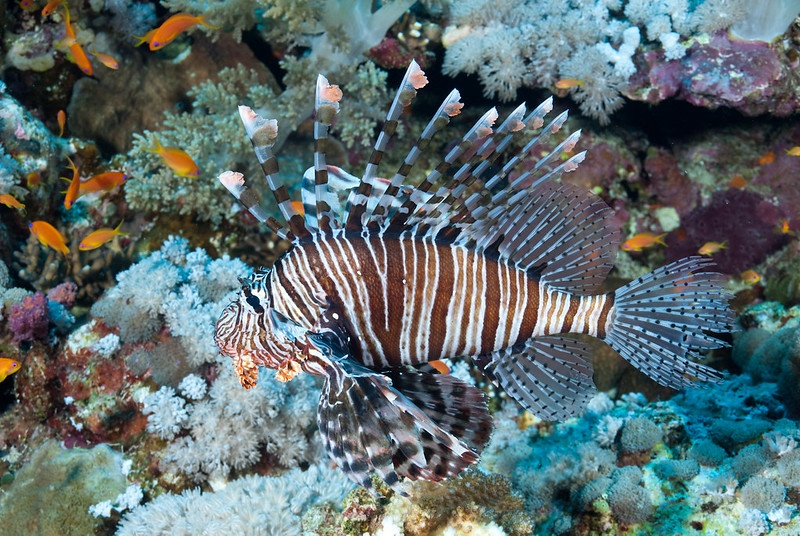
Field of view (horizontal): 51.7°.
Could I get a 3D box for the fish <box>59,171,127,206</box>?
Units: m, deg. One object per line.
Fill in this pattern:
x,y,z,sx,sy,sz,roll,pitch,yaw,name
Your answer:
-2.956,-0.796,8.102,0.638,0.196,0.288,-12,74,-14,fish

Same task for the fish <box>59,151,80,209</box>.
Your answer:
-3.399,-0.919,8.494,0.178,0.244,0.605,8,72,-7,fish

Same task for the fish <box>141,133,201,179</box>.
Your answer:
-2.207,-1.067,8.170,0.583,0.275,0.143,29,29,-24,fish

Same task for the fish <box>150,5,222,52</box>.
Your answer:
-2.189,-2.439,8.310,0.784,0.354,0.167,-37,71,-27,fish

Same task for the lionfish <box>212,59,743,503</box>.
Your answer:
0.707,-0.188,7.888,4.083,2.903,3.826,-1,104,-3,lionfish

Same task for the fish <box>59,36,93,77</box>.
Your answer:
-3.343,-2.178,8.504,0.161,0.190,0.485,-36,90,-30,fish
